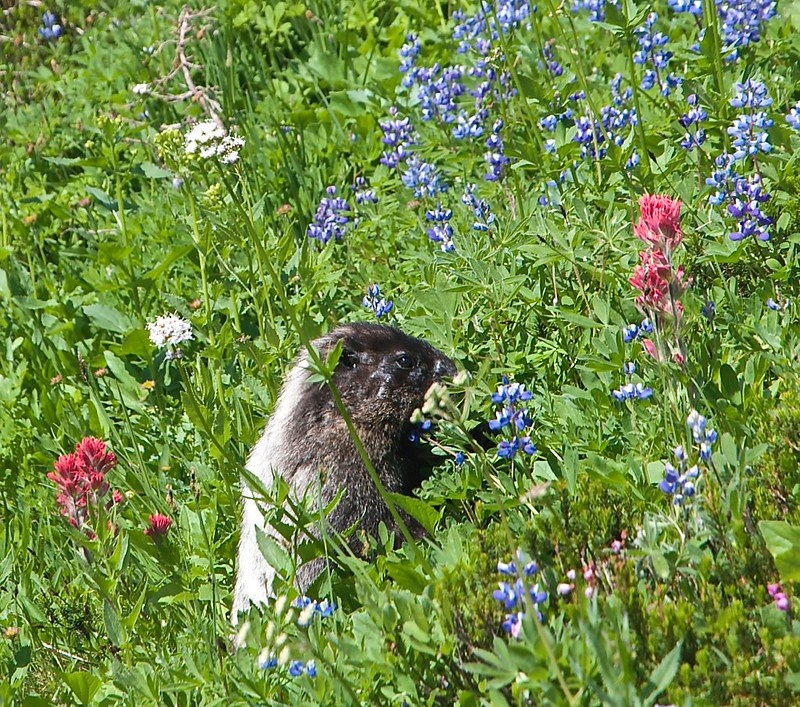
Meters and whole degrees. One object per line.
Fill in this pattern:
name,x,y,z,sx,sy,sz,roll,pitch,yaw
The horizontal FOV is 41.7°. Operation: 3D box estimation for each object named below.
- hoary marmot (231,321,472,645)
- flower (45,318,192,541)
hoary marmot,-0.174,0.358,4.222,1.373,0.662,0.681,-64,16,8
flower,-1.024,0.376,3.799,0.460,0.272,0.772,-31,39,18
